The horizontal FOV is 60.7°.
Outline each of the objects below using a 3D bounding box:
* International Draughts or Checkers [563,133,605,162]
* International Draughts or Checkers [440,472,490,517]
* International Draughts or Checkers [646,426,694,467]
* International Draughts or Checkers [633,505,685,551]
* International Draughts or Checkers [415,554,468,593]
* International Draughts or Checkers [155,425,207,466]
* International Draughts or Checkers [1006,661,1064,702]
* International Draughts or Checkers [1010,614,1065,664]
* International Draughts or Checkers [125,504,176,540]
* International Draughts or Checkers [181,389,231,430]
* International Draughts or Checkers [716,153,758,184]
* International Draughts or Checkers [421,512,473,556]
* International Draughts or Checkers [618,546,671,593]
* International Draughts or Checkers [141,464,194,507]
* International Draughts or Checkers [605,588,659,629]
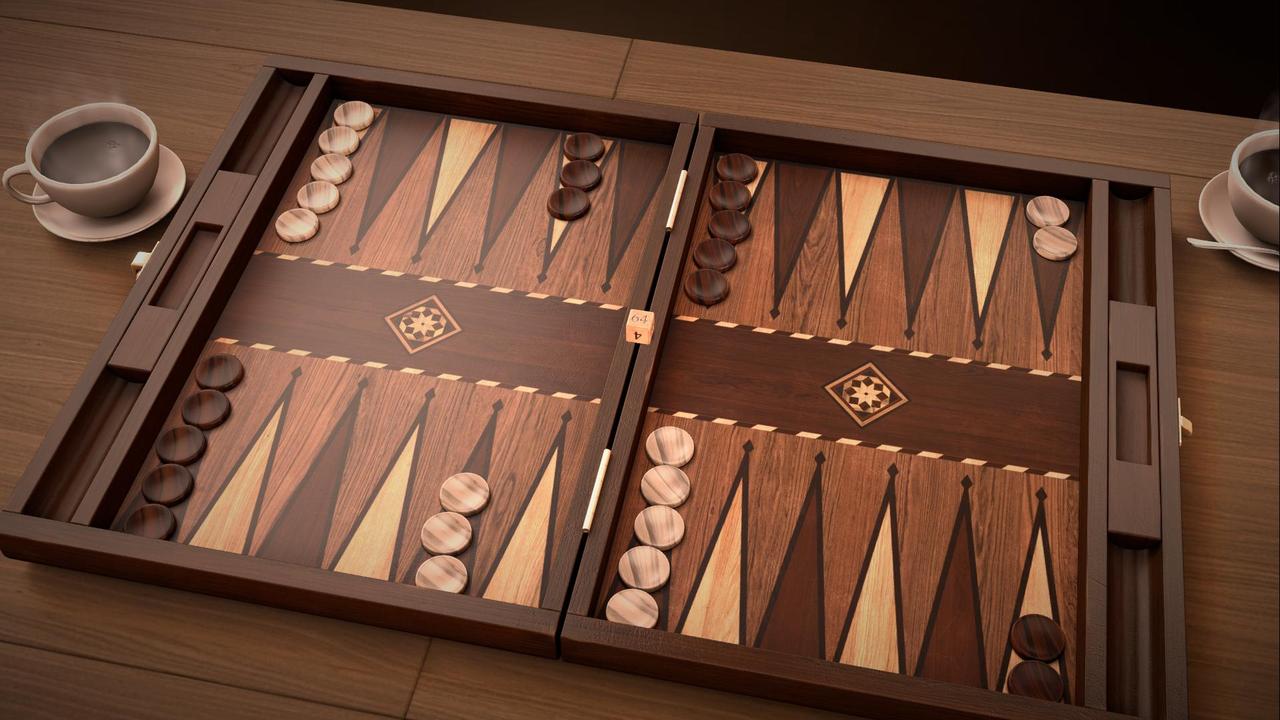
[{"bbox_3d":[-0.170,-0.663,3.417,0.116,0.025,0.095,0,51,-1],"label":"International Draughts or Checkers"},{"bbox_3d":[-0.484,0.370,3.032,0.131,0.049,0.118,-3,55,-14],"label":"International Draughts or Checkers"},{"bbox_3d":[0.084,0.252,3.128,0.129,0.026,0.104,-1,64,-1],"label":"International Draughts or Checkers"},{"bbox_3d":[0.058,0.457,3.005,0.135,0.025,0.109,0,59,-1],"label":"International Draughts or Checkers"},{"bbox_3d":[-0.529,0.575,2.955,0.118,0.023,0.096,4,56,-1],"label":"International Draughts or Checkers"},{"bbox_3d":[-1.291,0.240,3.082,0.128,0.054,0.109,-16,59,-22],"label":"International Draughts or Checkers"},{"bbox_3d":[1.047,0.843,2.885,0.124,0.026,0.101,1,58,3],"label":"International Draughts or Checkers"},{"bbox_3d":[1.063,0.740,2.916,0.142,0.031,0.117,-11,60,-4],"label":"International Draughts or Checkers"},{"bbox_3d":[-1.338,0.444,3.003,0.116,0.024,0.094,3,63,-2],"label":"International Draughts or Checkers"},{"bbox_3d":[-1.233,0.140,3.118,0.130,0.059,0.103,-1,55,-13],"label":"International Draughts or Checkers"},{"bbox_3d":[0.303,-0.595,3.339,0.121,0.025,0.096,-1,75,1],"label":"International Draughts or Checkers"},{"bbox_3d":[-0.525,0.475,2.999,0.137,0.058,0.115,4,54,-9],"label":"International Draughts or Checkers"},{"bbox_3d":[0.014,0.567,2.972,0.122,0.052,0.128,-26,63,-27],"label":"International Draughts or Checkers"},{"bbox_3d":[-1.312,0.344,3.040,0.137,0.029,0.111,9,66,4],"label":"International Draughts or Checkers"},{"bbox_3d":[-0.017,0.662,2.928,0.145,0.040,0.101,3,53,-9],"label":"International Draughts or Checkers"}]
